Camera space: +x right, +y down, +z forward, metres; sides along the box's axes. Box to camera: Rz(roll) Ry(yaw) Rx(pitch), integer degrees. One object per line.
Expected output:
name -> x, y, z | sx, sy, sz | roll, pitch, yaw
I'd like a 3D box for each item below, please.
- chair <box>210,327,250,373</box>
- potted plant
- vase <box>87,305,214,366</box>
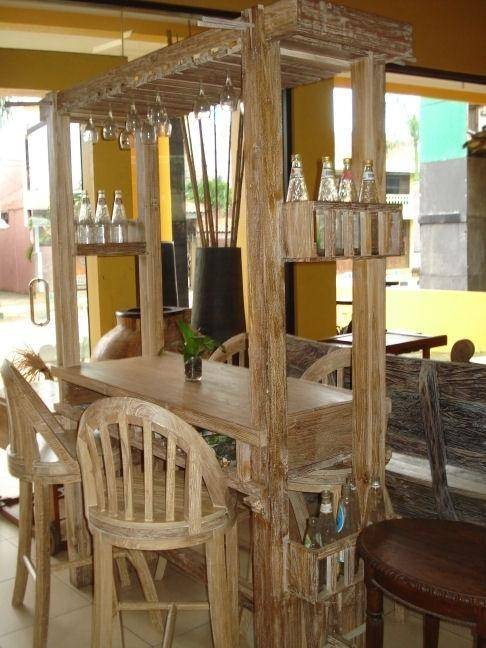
chair -> -0.102, 0.134, 3.032 | 0.202, 0.282, 0.204 | 4, -2, -45
potted plant -> -0.177, 0.106, 2.133 | 0.148, 0.219, 0.226 | 1, 8, 6
vase -> -0.592, 0.069, 3.191 | 0.411, 0.390, 0.426 | -1, 1, -13
